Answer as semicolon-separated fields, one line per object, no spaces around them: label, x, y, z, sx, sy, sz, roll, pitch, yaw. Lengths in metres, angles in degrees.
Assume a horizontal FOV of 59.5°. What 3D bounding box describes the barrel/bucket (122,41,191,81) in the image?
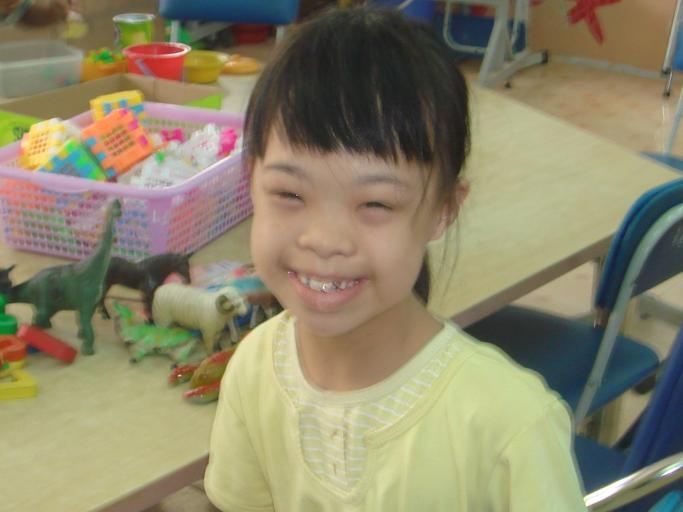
barrel/bucket;-0.577;-0.606;1.845;0.162;0.130;0.172;0;31;0
